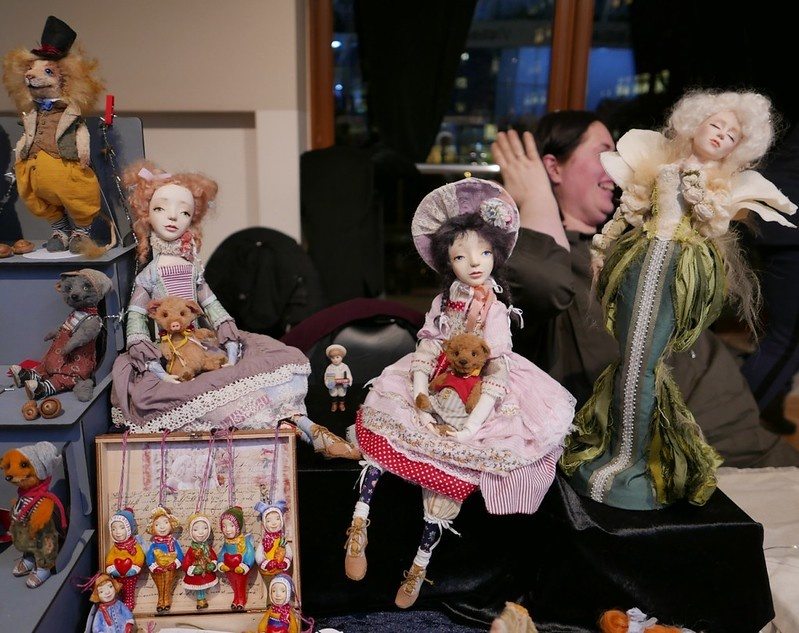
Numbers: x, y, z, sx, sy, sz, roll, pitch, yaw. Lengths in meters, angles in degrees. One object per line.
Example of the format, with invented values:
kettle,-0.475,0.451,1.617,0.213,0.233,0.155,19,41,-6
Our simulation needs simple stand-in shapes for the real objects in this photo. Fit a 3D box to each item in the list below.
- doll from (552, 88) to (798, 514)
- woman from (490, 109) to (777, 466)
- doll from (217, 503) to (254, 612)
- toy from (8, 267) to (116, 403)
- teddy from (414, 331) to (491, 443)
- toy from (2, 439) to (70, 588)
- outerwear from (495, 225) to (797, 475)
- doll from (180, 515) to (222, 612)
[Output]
doll,1.172,-0.080,3.548,0.914,1.752,0.564,0,12,6
woman,1.048,-0.204,3.859,1.721,2.049,0.630,-2,6,2
doll,-0.672,1.003,3.333,0.152,0.427,0.116,-4,12,-11
toy,-1.442,0.082,3.464,0.441,0.544,0.277,-8,13,-28
teddy,0.225,0.280,3.454,0.241,0.383,0.241,6,14,33
toy,-1.465,0.783,3.268,0.226,0.549,0.229,-7,13,-27
outerwear,1.286,0.210,4.252,1.092,1.611,0.519,-7,7,6
doll,-0.823,1.008,3.333,0.145,0.402,0.106,-7,13,-25
